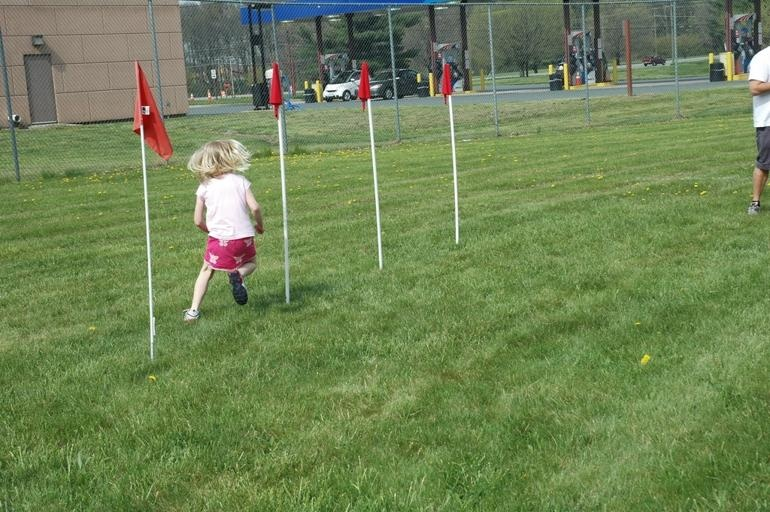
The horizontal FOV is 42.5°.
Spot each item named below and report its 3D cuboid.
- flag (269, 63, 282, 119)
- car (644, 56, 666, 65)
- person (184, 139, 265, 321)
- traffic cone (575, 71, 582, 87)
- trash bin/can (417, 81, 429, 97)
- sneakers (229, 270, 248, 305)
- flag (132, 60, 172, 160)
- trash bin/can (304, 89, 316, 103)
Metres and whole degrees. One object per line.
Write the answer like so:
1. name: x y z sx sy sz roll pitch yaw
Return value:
1. flag: -1.391 -2.112 12.627 0.163 0.663 0.183 0 2 33
2. car: 19.298 -13.657 70.080 1.600 0.843 0.901 -13 20 -33
3. person: -2.039 -0.340 12.534 0.934 2.124 0.579 -4 13 -7
4. traffic cone: 8.603 -7.826 43.726 0.222 0.591 0.516 1 16 16
5. trash bin/can: 1.718 -7.407 44.200 0.525 0.482 1.830 -2 18 3
6. sneakers: -1.846 0.418 12.549 0.160 0.505 0.213 -11 -6 -1
7. flag: -2.953 -1.807 12.301 0.365 1.488 0.199 1 -27 -29
8. trash bin/can: -3.536 -7.596 46.775 0.543 0.872 0.602 0 -3 -3
